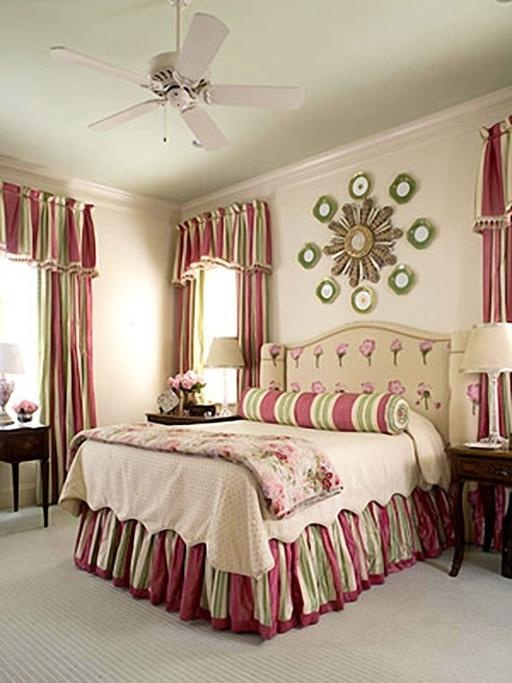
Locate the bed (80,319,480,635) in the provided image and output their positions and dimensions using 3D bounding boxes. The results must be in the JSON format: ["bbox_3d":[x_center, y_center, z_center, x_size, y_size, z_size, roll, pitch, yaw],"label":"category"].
[{"bbox_3d":[0.232,0.535,3.132,1.905,1.240,1.478,8,-9,-42],"label":"bed"}]

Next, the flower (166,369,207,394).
[{"bbox_3d":[-0.639,0.370,4.831,0.283,0.238,0.278,-2,-3,1],"label":"flower"}]

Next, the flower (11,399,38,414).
[{"bbox_3d":[-1.706,0.487,4.022,0.112,0.061,0.112,4,-4,15],"label":"flower"}]

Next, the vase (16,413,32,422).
[{"bbox_3d":[-1.709,0.556,3.967,0.070,0.058,0.070,-2,-6,41],"label":"vase"}]
